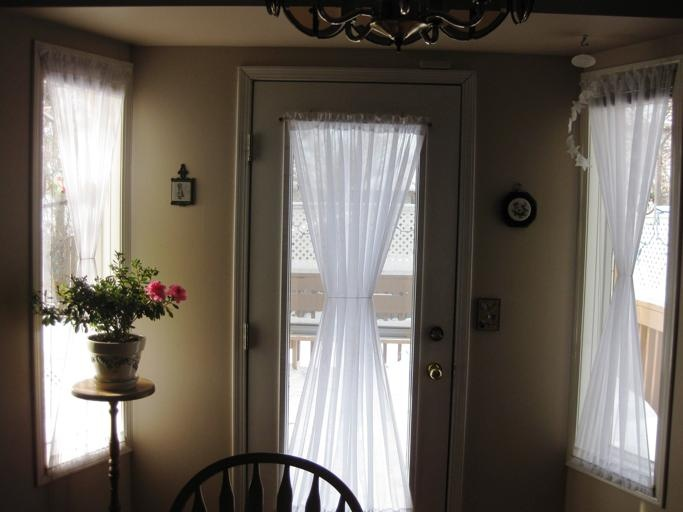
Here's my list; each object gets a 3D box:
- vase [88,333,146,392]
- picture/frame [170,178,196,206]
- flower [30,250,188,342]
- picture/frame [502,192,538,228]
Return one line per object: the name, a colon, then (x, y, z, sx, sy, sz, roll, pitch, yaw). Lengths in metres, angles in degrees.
vase: (-1.107, 0.506, 2.880, 0.285, 0.277, 0.282, -3, 12, -41)
picture/frame: (-0.833, -0.342, 3.063, 0.116, 0.142, 0.050, 1, 3, -3)
flower: (-1.075, 0.215, 2.887, 0.441, 0.296, 0.482, -2, 2, 43)
picture/frame: (0.928, -0.244, 3.032, 0.161, 0.184, 0.043, 3, 6, 2)
